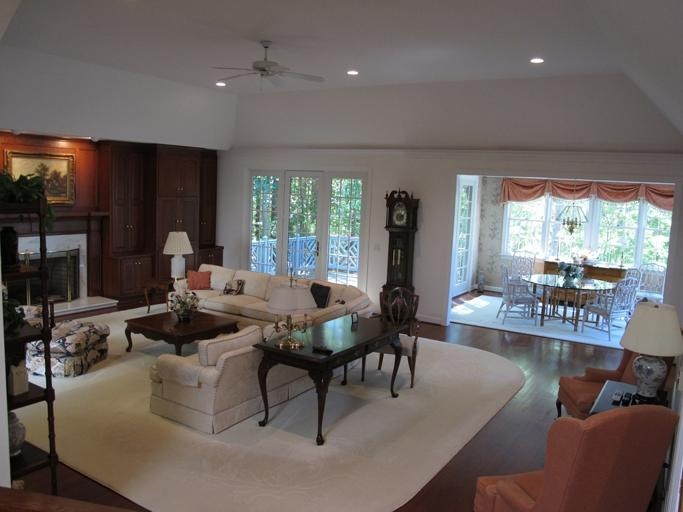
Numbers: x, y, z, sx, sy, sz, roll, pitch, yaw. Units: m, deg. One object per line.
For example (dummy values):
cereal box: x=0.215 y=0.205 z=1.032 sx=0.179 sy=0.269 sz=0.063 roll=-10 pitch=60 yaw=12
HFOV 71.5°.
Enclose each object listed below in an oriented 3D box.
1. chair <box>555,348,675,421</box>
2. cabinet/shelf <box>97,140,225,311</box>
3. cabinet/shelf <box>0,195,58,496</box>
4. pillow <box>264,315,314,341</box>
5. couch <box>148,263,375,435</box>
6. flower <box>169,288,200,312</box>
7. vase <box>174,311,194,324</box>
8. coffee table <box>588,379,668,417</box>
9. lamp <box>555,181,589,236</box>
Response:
chair: x=2.978 y=1.456 z=5.379 sx=0.902 sy=1.078 sz=0.779 roll=5 pitch=5 yaw=7
cabinet/shelf: x=-3.830 y=-0.632 z=9.731 sx=0.996 sy=3.746 sz=3.291 roll=7 pitch=9 yaw=43
cabinet/shelf: x=-2.343 y=0.834 z=3.583 sx=0.367 sy=2.509 sz=0.669 roll=-4 pitch=13 yaw=-29
pillow: x=-0.640 y=0.892 z=5.774 sx=0.327 sy=0.240 sz=0.324 roll=1 pitch=1 yaw=33
couch: x=-1.070 y=1.292 z=5.770 sx=2.042 sy=0.854 sz=2.074 roll=-4 pitch=8 yaw=-44
flower: x=-2.306 y=0.660 z=6.961 sx=0.481 sy=0.334 sz=0.450 roll=4 pitch=0 yaw=32
vase: x=-2.273 y=0.850 z=6.841 sx=0.201 sy=0.153 sz=0.202 roll=-1 pitch=17 yaw=-19
coffee table: x=2.486 y=1.231 z=4.103 sx=0.362 sy=0.127 sz=0.547 roll=2 pitch=9 yaw=25
lamp: x=5.388 y=-1.115 z=11.175 sx=0.676 sy=1.248 sz=0.552 roll=13 pitch=15 yaw=41
